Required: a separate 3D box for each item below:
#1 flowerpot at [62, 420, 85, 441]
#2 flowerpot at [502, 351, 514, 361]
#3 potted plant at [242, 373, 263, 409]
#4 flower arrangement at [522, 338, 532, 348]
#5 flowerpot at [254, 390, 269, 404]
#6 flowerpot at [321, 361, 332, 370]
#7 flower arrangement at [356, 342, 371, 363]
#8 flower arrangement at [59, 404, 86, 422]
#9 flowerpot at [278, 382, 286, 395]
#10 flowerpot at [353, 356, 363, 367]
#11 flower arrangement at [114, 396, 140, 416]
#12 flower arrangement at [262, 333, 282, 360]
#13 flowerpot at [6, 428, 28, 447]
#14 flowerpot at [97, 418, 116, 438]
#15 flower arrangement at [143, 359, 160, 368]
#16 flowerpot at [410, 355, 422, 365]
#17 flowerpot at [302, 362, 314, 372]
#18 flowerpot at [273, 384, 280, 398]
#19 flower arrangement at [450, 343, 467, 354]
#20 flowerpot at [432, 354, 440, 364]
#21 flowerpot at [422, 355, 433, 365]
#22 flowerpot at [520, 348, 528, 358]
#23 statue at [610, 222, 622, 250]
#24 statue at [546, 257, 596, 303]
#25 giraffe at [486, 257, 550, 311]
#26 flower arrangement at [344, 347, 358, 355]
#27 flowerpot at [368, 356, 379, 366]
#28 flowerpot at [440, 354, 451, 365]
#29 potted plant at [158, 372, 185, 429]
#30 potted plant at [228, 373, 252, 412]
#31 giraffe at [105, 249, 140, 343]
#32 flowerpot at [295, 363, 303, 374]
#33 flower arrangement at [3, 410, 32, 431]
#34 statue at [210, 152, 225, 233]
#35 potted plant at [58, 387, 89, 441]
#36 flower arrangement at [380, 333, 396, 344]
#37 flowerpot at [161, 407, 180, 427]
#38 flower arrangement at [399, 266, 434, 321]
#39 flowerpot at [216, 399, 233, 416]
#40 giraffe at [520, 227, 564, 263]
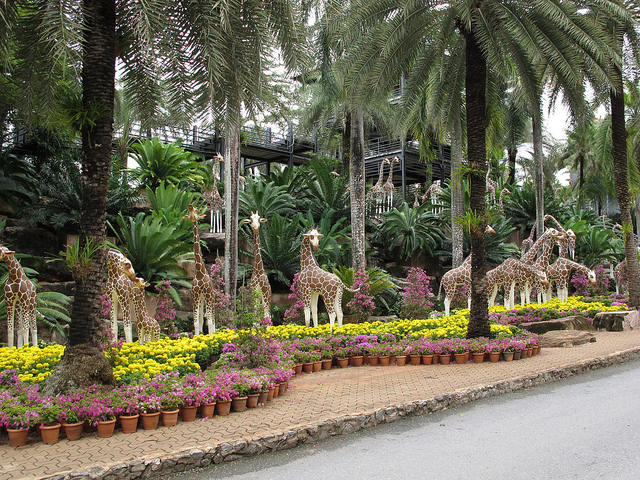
[{"bbox_3d":[-3.513,2.704,8.877,0.222,0.204,0.244,1,-6,-1],"label":"flowerpot"},{"bbox_3d":[3.889,2.395,12.826,0.149,0.133,0.153,2,-2,-28],"label":"flowerpot"},{"bbox_3d":[-1.122,2.492,10.269,0.366,0.524,0.400,0,5,-24],"label":"potted plant"},{"bbox_3d":[4.388,2.179,13.156,0.164,0.181,0.195,-21,-8,-6],"label":"flower arrangement"},{"bbox_3d":[-0.937,2.579,10.241,0.159,0.142,0.169,-1,-4,37],"label":"flowerpot"},{"bbox_3d":[0.135,2.590,12.843,0.143,0.123,0.152,2,-2,-16],"label":"flowerpot"},{"bbox_3d":[0.953,2.373,13.189,0.306,0.412,0.336,1,-1,8],"label":"flower arrangement"},{"bbox_3d":[-3.544,2.476,8.876,0.360,0.210,0.154,5,8,7],"label":"flower arrangement"},{"bbox_3d":[-0.661,2.583,10.832,0.155,0.151,0.169,-2,-2,36],"label":"flowerpot"},{"bbox_3d":[0.804,2.549,13.119,0.163,0.156,0.180,2,1,6],"label":"flowerpot"},{"bbox_3d":[-2.802,2.421,9.093,0.245,0.230,0.230,9,-18,-41],"label":"flower arrangement"},{"bbox_3d":[-0.882,1.975,11.483,0.175,0.483,0.669,4,9,9],"label":"flower arrangement"},{"bbox_3d":[-4.233,2.766,8.724,0.223,0.198,0.247,0,-7,9],"label":"flowerpot"},{"bbox_3d":[-3.059,2.691,8.968,0.218,0.202,0.242,0,-4,8],"label":"flowerpot"},{"bbox_3d":[-2.946,2.137,10.827,0.268,0.117,0.368,0,10,-24],"label":"flower arrangement"},{"bbox_3d":[1.987,2.487,12.924,0.152,0.134,0.168,2,-1,11],"label":"flowerpot"},{"bbox_3d":[-0.250,2.551,12.508,0.152,0.131,0.161,2,0,-16],"label":"flowerpot"},{"bbox_3d":[-0.743,2.581,10.691,0.155,0.199,0.174,1,5,16],"label":"flowerpot"},{"bbox_3d":[2.852,2.225,12.828,0.216,0.180,0.206,3,-2,-44],"label":"flower arrangement"},{"bbox_3d":[2.400,2.464,12.952,0.149,0.135,0.150,-1,5,-32],"label":"flowerpot"},{"bbox_3d":[2.221,2.473,12.838,0.159,0.146,0.176,2,-1,5],"label":"flowerpot"},{"bbox_3d":[4.295,2.378,13.116,0.155,0.144,0.171,0,7,5],"label":"flowerpot"},{"bbox_3d":[13.258,-0.123,27.889,0.191,1.354,0.199,21,-12,-25],"label":"statue"},{"bbox_3d":[7.841,1.352,19.969,1.866,1.656,0.477,11,23,39],"label":"statue"},{"bbox_3d":[5.856,1.399,18.953,2.031,1.796,0.546,6,21,30],"label":"giraffe"},{"bbox_3d":[0.681,2.329,13.119,0.156,0.141,0.191,1,-9,4],"label":"flower arrangement"},{"bbox_3d":[1.129,2.540,13.093,0.155,0.134,0.162,2,2,42],"label":"flowerpot"},{"bbox_3d":[2.576,2.445,12.796,0.166,0.147,0.183,3,-1,3],"label":"flowerpot"},{"bbox_3d":[-2.354,2.434,9.637,0.525,0.853,0.569,-1,2,-29],"label":"potted plant"},{"bbox_3d":[-1.317,2.466,10.094,0.409,0.503,0.426,0,1,-14],"label":"potted plant"},{"bbox_3d":[-4.104,1.254,12.986,0.658,2.068,1.378,0,9,-20],"label":"giraffe"},{"bbox_3d":[-0.413,2.546,12.348,0.146,0.160,0.156,-2,6,-15],"label":"flowerpot"},{"bbox_3d":[-4.194,2.510,8.704,0.249,0.213,0.266,2,-5,-6],"label":"flower arrangement"},{"bbox_3d":[-3.217,-1.216,19.341,0.386,1.929,1.171,1,8,-10],"label":"statue"},{"bbox_3d":[-3.542,2.604,8.972,0.384,0.505,0.314,-9,-1,-35],"label":"potted plant"},{"bbox_3d":[1.518,2.190,13.847,0.181,0.219,0.199,0,-2,2],"label":"flower arrangement"},{"bbox_3d":[-2.239,2.647,9.309,0.214,0.200,0.237,0,0,2],"label":"flowerpot"},{"bbox_3d":[2.783,1.575,17.704,0.887,1.621,1.991,4,8,8],"label":"flower arrangement"},{"bbox_3d":[-1.506,2.617,9.768,0.191,0.169,0.212,2,-2,6],"label":"flowerpot"},{"bbox_3d":[6.636,0.148,19.309,1.296,1.170,1.188,1,9,-17],"label":"giraffe"}]
